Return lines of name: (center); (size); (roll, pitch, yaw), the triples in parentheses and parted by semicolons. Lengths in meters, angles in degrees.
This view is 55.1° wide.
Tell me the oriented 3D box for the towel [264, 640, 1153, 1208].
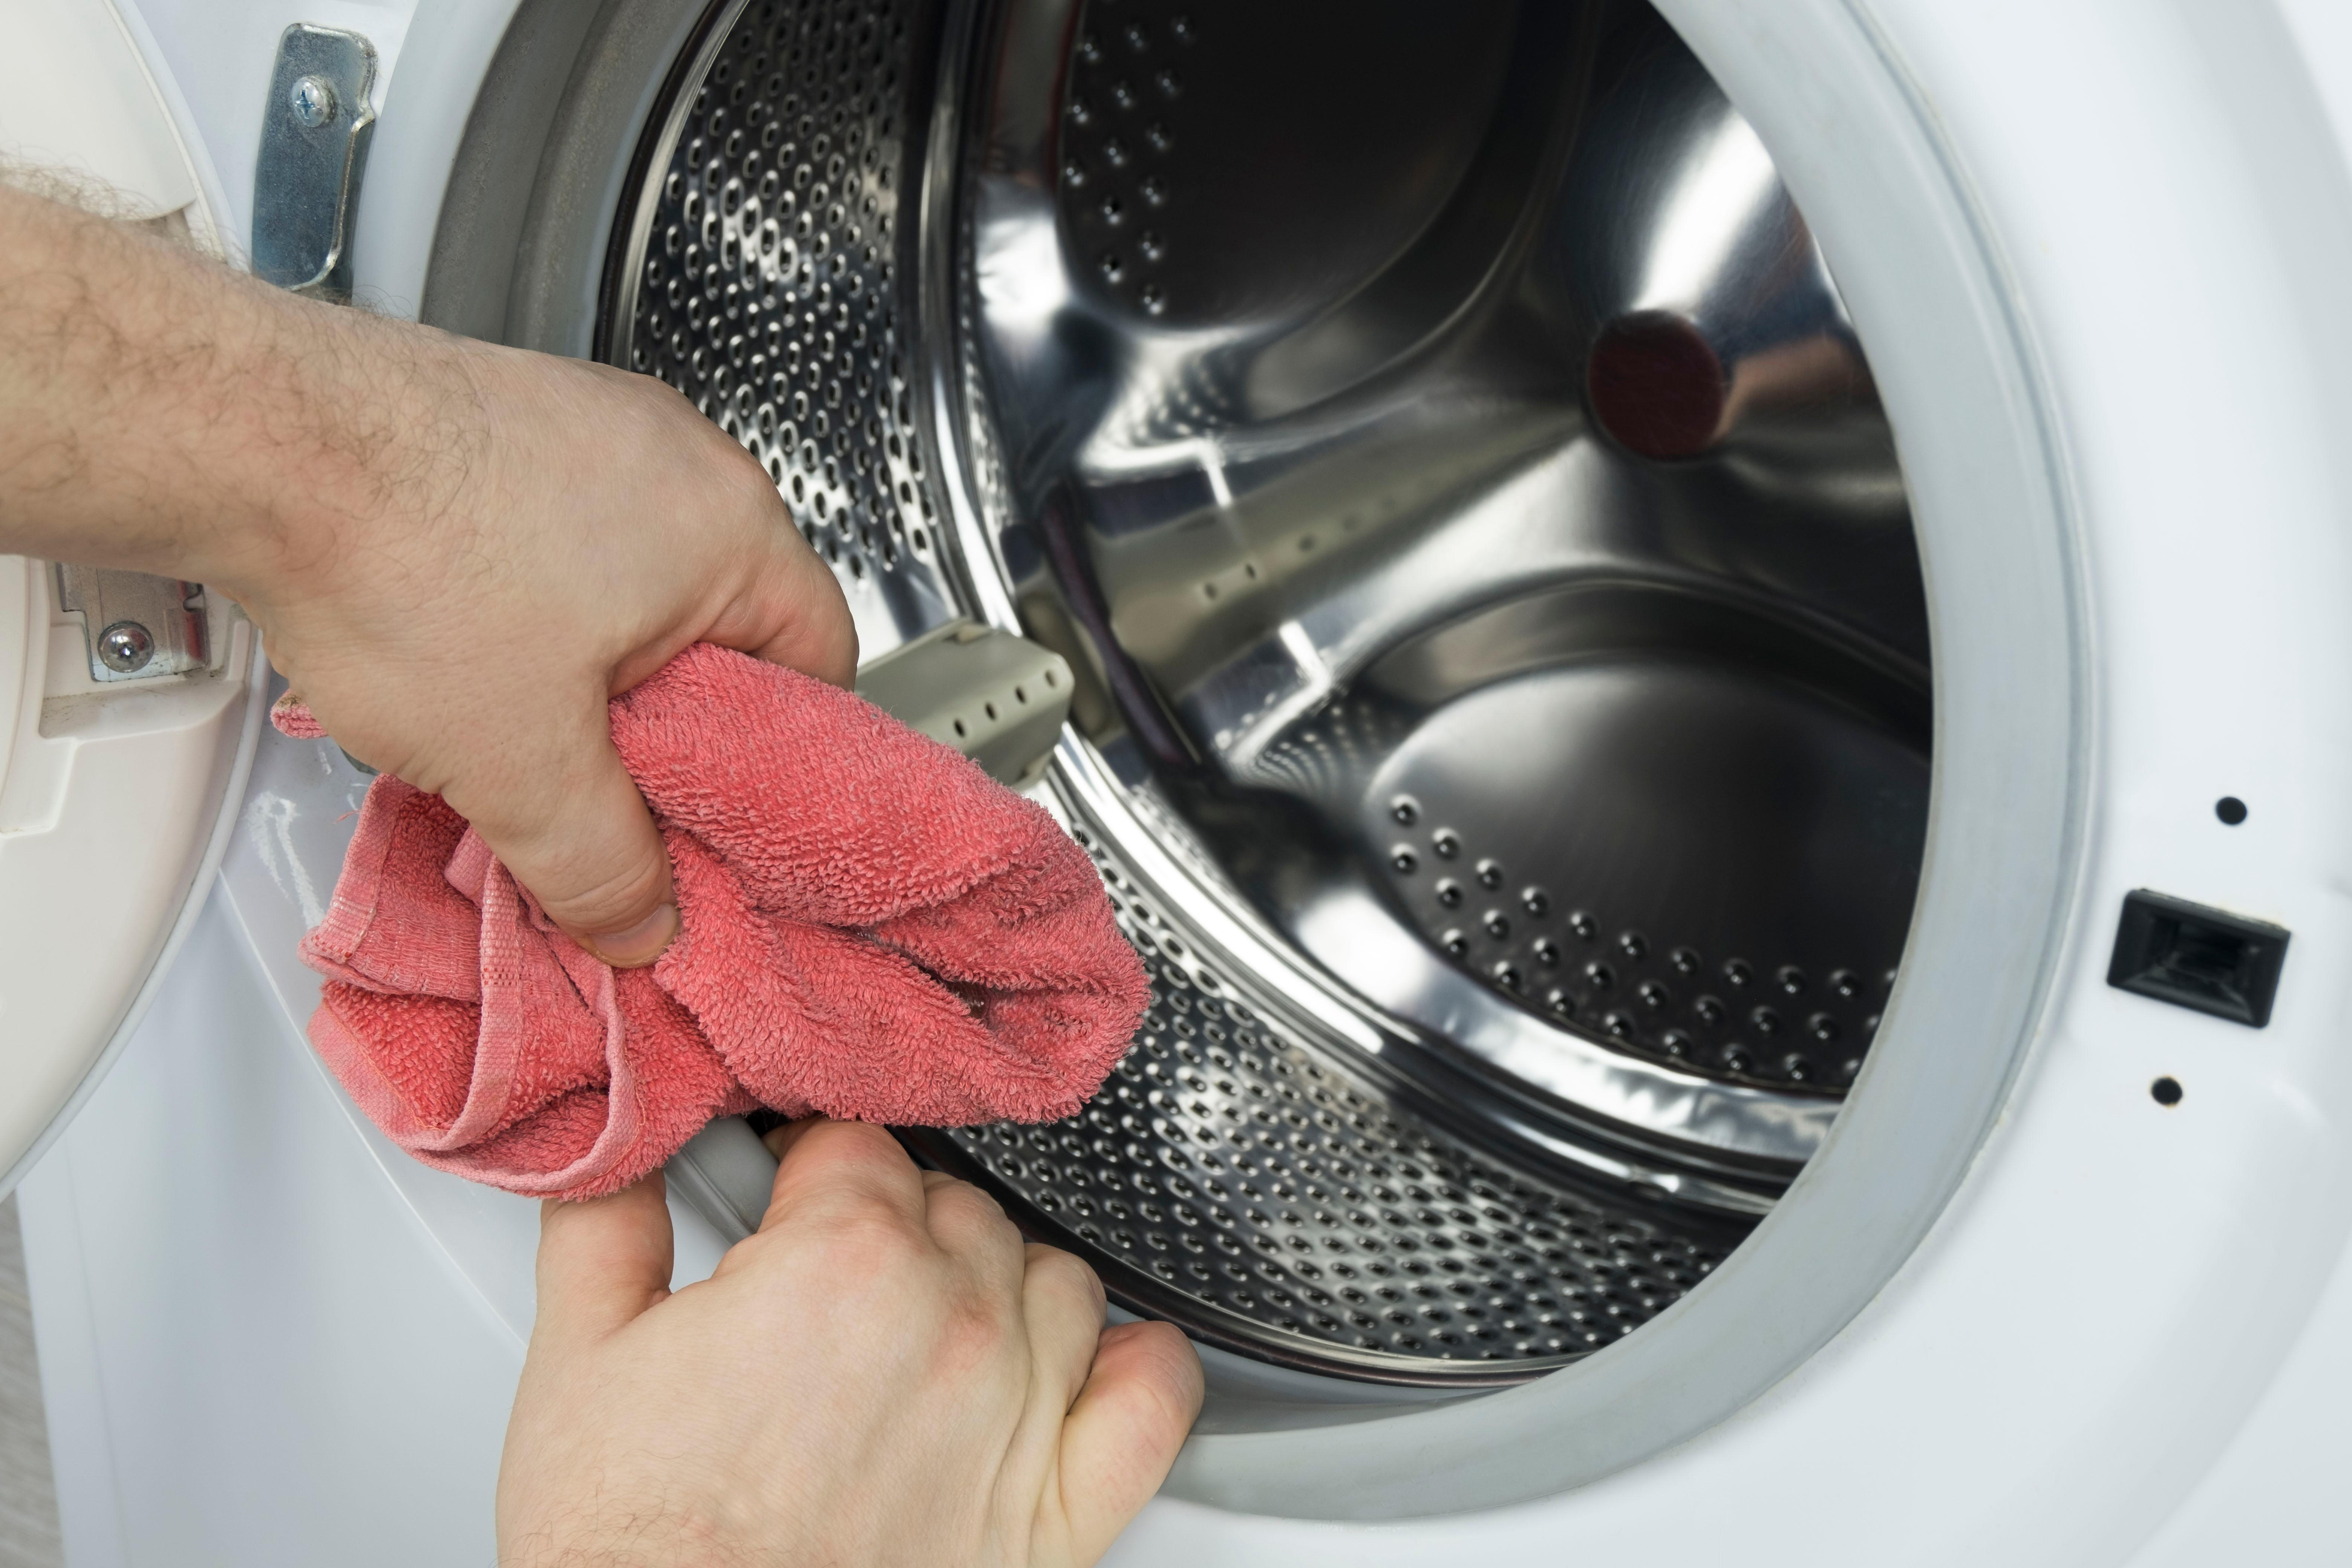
towel: (-0.193, 0.057, 0.929); (0.269, 0.263, 0.111); (17, -4, -17)
